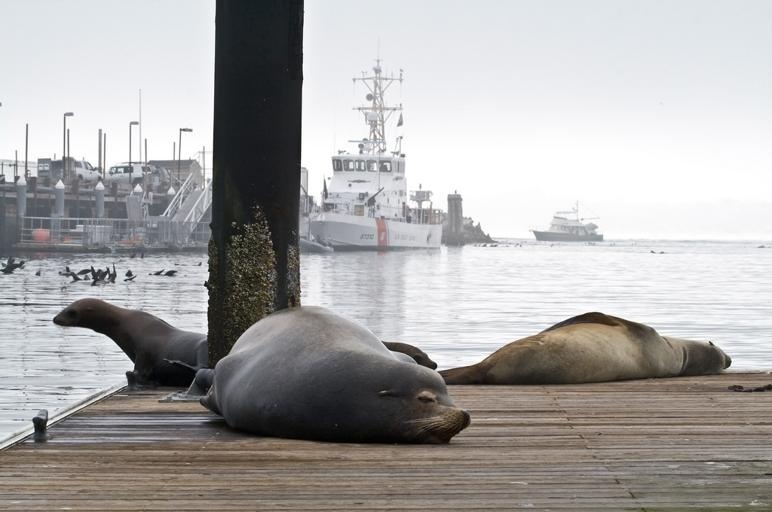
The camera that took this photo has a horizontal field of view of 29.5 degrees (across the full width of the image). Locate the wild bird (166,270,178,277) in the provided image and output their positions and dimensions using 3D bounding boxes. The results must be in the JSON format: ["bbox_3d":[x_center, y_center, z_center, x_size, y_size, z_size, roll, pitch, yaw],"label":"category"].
[{"bbox_3d":[-5.826,0.430,40.094,0.228,0.214,0.640,0,-8,-19],"label":"wild bird"}]

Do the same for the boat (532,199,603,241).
[{"bbox_3d":[20.068,-2.895,161.634,5.812,2.850,5.056,0,0,19],"label":"boat"}]
